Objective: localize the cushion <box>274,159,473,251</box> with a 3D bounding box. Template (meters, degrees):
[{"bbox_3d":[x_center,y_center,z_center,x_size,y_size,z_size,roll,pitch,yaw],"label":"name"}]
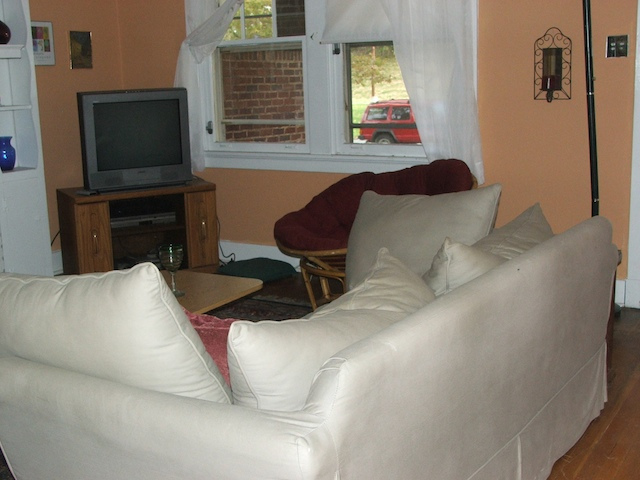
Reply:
[{"bbox_3d":[0.322,-0.290,3.872,0.817,0.375,0.802,-5,13,-15],"label":"cushion"}]

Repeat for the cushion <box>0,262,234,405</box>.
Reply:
[{"bbox_3d":[-0.602,0.255,1.601,0.690,0.425,0.211,1,9,16],"label":"cushion"}]

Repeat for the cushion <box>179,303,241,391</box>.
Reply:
[{"bbox_3d":[-0.449,0.489,2.457,0.299,0.086,0.332,16,15,-3],"label":"cushion"}]

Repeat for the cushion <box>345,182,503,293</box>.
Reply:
[{"bbox_3d":[0.453,-0.009,2.489,0.500,0.251,0.692,-15,39,17],"label":"cushion"}]

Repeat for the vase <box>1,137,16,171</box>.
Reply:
[{"bbox_3d":[-2.308,-0.633,4.245,0.107,0.242,0.049,-8,11,-41],"label":"vase"}]

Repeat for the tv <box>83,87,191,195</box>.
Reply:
[{"bbox_3d":[-1.485,-0.793,4.583,0.687,0.728,0.367,-8,16,-38],"label":"tv"}]

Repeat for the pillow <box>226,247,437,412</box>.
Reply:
[{"bbox_3d":[0.068,0.254,1.606,0.709,0.367,0.290,-18,11,-13],"label":"pillow"}]
